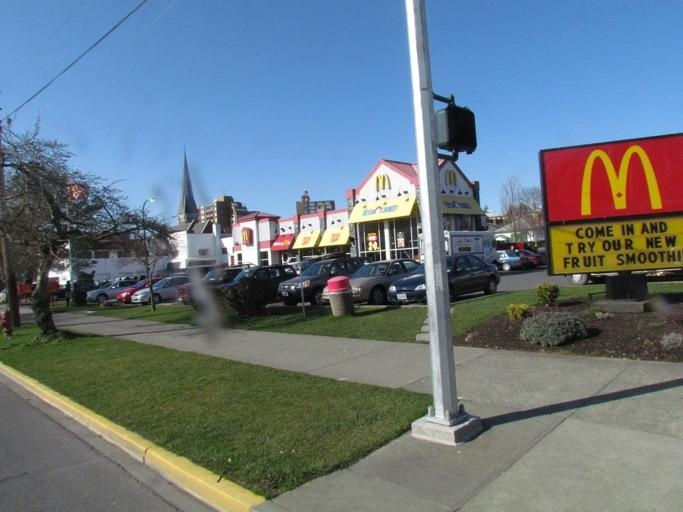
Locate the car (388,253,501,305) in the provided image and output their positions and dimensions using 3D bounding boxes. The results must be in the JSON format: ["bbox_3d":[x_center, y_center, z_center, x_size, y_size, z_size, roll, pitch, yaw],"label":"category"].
[{"bbox_3d":[3.636,0.817,17.629,3.852,1.281,1.643,0,-5,-44],"label":"car"}]

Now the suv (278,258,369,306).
[{"bbox_3d":[-0.814,1.005,20.846,1.520,1.428,3.166,-6,-5,44],"label":"suv"}]

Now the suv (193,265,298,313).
[{"bbox_3d":[-2.970,1.243,19.747,1.922,1.519,3.237,-3,-3,41],"label":"suv"}]

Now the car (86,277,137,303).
[{"bbox_3d":[-14.792,2.287,33.401,3.139,1.096,1.445,-5,3,-34],"label":"car"}]

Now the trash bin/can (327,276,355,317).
[{"bbox_3d":[0.006,1.328,15.946,0.770,1.252,0.755,-20,16,-36],"label":"trash bin/can"}]

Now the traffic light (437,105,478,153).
[{"bbox_3d":[1.465,-1.627,6.678,0.652,0.613,0.131,-9,7,-26],"label":"traffic light"}]

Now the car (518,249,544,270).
[{"bbox_3d":[14.067,0.285,38.086,1.101,0.774,2.354,3,8,41],"label":"car"}]

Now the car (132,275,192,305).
[{"bbox_3d":[-10.152,1.939,29.369,1.690,1.255,3.619,-4,-2,43],"label":"car"}]

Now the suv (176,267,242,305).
[{"bbox_3d":[-6.158,1.430,24.882,3.091,1.334,1.547,-2,1,-42],"label":"suv"}]

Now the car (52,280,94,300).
[{"bbox_3d":[-19.015,2.483,36.764,3.533,1.350,1.645,-7,0,20],"label":"car"}]

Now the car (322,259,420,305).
[{"bbox_3d":[1.220,0.875,18.664,1.536,1.189,3.643,-4,-3,42],"label":"car"}]
